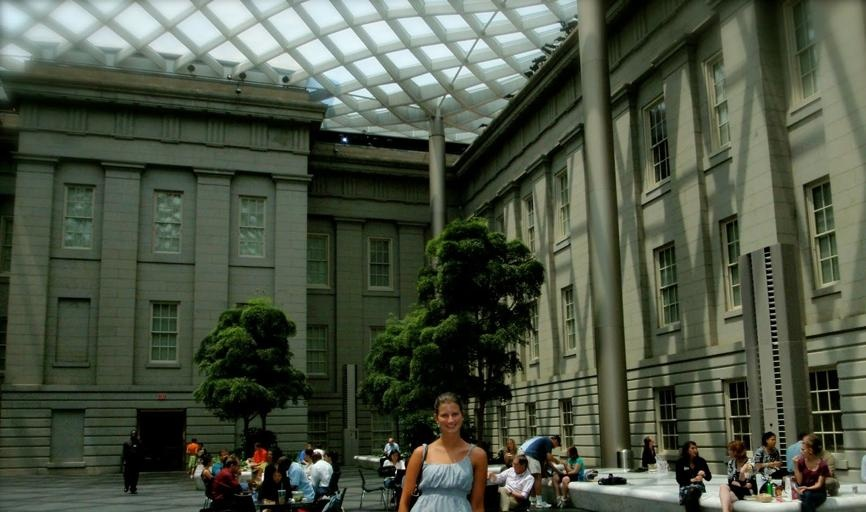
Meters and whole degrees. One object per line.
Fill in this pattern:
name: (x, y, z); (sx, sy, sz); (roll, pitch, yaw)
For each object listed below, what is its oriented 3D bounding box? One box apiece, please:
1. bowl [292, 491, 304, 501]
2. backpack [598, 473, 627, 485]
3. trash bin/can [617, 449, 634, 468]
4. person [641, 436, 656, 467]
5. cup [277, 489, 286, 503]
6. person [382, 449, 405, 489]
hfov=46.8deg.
bowl: (-4.513, 8.108, 33.722); (0.286, 0.203, 0.292); (0, -10, 0)
backpack: (6.672, 8.291, 37.193); (0.783, 0.271, 0.423); (4, -15, -2)
trash bin/can: (7.969, 8.413, 41.443); (0.545, 0.929, 1.071); (-2, -18, 5)
person: (8.763, 7.996, 40.710); (0.526, 1.257, 0.777); (-4, -18, 12)
cup: (-4.978, 8.000, 33.289); (0.395, 0.457, 0.352); (10, -23, -34)
person: (-1.347, 8.192, 38.509); (1.149, 1.412, 0.592); (-9, -22, 41)
